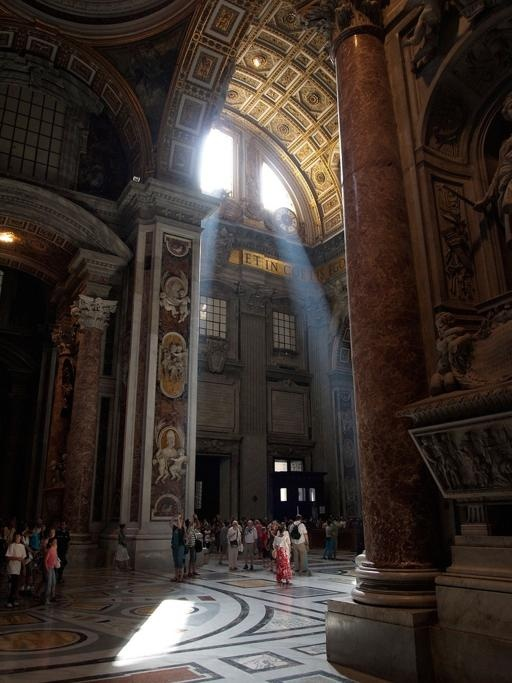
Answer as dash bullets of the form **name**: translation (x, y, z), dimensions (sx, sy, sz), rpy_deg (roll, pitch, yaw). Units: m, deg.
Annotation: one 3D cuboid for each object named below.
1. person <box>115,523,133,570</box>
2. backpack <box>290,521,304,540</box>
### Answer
- **person**: translation (-2.954, 4.545, 10.571), dimensions (0.359, 0.938, 0.612), rpy_deg (3, -16, -15)
- **backpack**: translation (0.878, 4.220, 10.636), dimensions (0.256, 0.405, 0.353), rpy_deg (-4, -16, 10)
